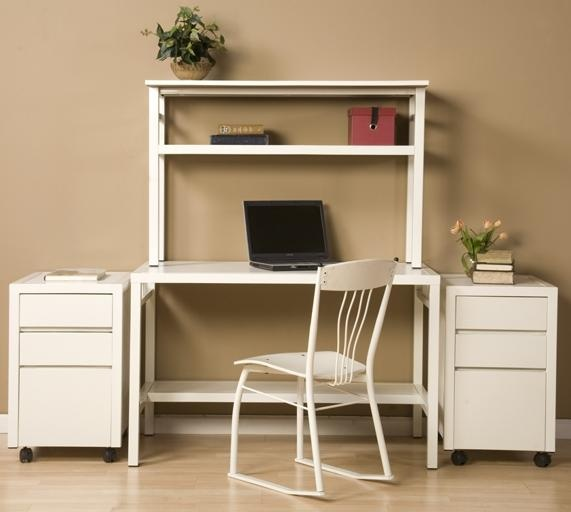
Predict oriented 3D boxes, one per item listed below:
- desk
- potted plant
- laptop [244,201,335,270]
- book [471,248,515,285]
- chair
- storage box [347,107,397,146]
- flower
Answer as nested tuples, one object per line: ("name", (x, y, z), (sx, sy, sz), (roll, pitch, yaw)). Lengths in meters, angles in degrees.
("desk", (0.083, 0.417, 3.242), (0.661, 1.045, 1.632), (-11, -17, 36))
("potted plant", (-0.453, -0.943, 3.078), (0.376, 0.337, 0.263), (-1, 9, -12))
("laptop", (0.029, -0.082, 3.034), (0.392, 0.290, 0.358), (-1, 6, -8))
("book", (0.890, 0.056, 2.951), (0.148, 0.098, 0.153), (0, 7, 12))
("chair", (0.135, 0.429, 2.901), (0.667, 0.922, 0.773), (2, 9, 11))
("storage box", (0.385, -0.562, 3.037), (0.189, 0.159, 0.053), (-1, 9, -8))
("flower", (0.874, -0.010, 3.120), (0.265, 0.282, 0.260), (-2, -8, 18))
